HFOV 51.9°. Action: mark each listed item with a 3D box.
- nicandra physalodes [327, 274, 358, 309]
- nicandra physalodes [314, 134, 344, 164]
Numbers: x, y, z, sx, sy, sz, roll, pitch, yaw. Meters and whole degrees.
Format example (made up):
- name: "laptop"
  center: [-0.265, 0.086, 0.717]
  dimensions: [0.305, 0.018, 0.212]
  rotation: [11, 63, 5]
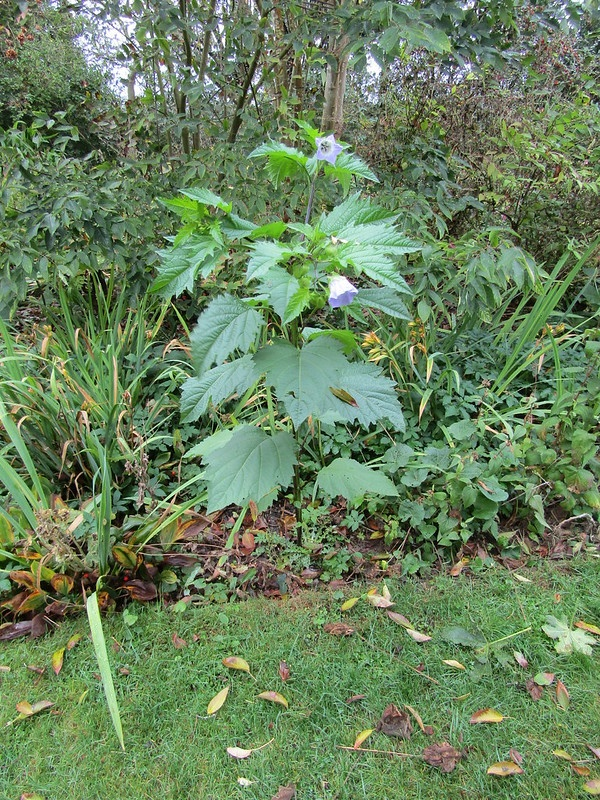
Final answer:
- name: "nicandra physalodes"
  center: [0.119, -0.306, 1.748]
  dimensions: [0.082, 0.048, 0.097]
  rotation: [-6, 31, -7]
- name: "nicandra physalodes"
  center: [0.087, -0.747, 1.838]
  dimensions: [0.066, 0.082, 0.098]
  rotation: [11, 17, 20]
